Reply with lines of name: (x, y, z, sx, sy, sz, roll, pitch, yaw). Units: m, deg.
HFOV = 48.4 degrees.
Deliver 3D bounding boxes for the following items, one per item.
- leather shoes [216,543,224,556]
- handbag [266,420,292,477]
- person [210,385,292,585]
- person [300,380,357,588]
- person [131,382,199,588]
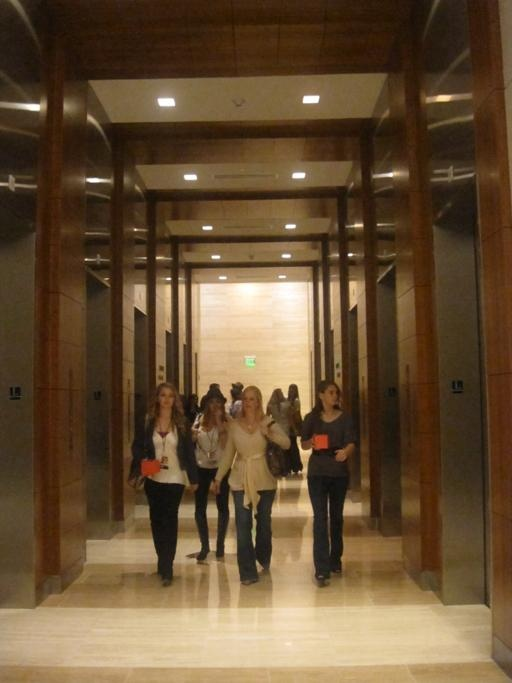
leather shoes: (-0.345, 2.031, 5.558, 0.064, 0.142, 0.070, -2, -6, 16)
handbag: (0.178, 0.922, 4.901, 0.200, 0.500, 0.372, -1, -8, 2)
person: (-0.037, 1.192, 4.906, 0.606, 1.608, 0.556, 1, -7, -7)
person: (0.614, 1.152, 4.802, 0.424, 1.646, 0.590, 3, -8, -24)
person: (-0.772, 1.162, 4.758, 0.487, 1.619, 0.429, -4, -8, 29)
